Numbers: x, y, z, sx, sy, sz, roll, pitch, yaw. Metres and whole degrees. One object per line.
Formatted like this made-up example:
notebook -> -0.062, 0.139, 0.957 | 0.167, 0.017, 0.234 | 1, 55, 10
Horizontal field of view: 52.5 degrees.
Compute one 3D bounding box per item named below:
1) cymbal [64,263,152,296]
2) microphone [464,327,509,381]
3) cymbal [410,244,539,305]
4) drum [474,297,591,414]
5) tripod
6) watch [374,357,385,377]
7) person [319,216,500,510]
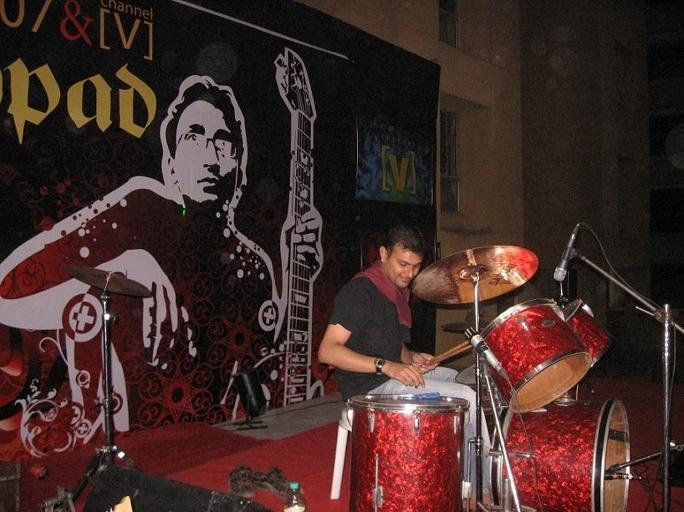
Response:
cymbal -> -1.606, 0.167, 4.740 | 0.333, 0.088, 0.326 | 14, -4, -11
microphone -> 0.903, 0.598, 4.283 | 0.097, 0.430, 0.097 | -33, -32, -7
cymbal -> 0.883, 0.135, 4.664 | 0.840, 0.438, 0.682 | 0, 4, -12
drum -> 1.184, 0.643, 4.278 | 0.796, 0.737, 0.316 | -1, 5, -19
tripod -> -1.665, 0.958, 4.760 | 0.366, 1.422, 1.818 | -1, 5, -18
watch -> 0.256, 0.742, 4.616 | 0.055, 0.096, 0.085 | 7, 4, 15
person -> 0.528, 0.777, 4.987 | 1.119, 1.938, 0.904 | 4, 10, 24
